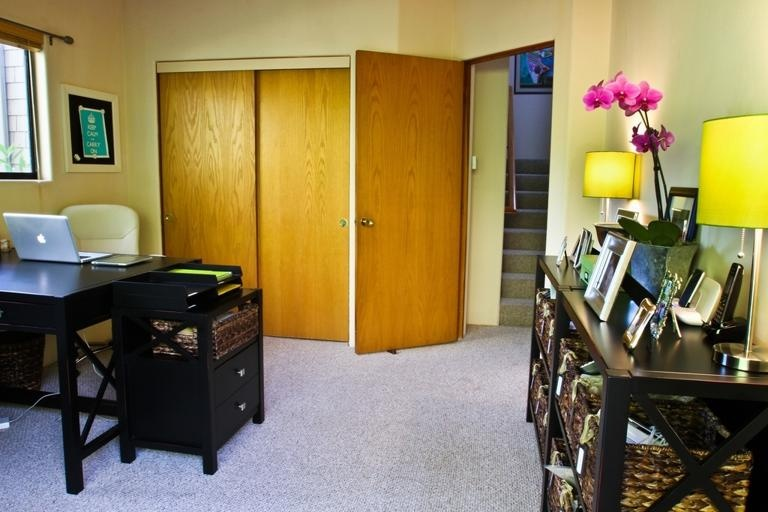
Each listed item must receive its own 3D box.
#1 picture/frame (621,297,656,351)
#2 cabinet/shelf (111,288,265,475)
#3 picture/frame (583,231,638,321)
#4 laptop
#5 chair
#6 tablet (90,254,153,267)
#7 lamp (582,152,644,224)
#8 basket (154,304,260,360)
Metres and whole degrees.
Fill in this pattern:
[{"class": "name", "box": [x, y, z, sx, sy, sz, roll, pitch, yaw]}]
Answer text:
[{"class": "picture/frame", "box": [0.977, 0.267, 2.095, 0.032, 0.230, 0.124, 18, 15, -6]}, {"class": "cabinet/shelf", "box": [-1.149, 0.704, 3.398, 0.653, 0.893, 0.810, -1, 5, 4]}, {"class": "picture/frame", "box": [1.001, 0.101, 2.395, 0.038, 0.389, 0.389, 19, 4, 0]}, {"class": "laptop", "box": [-2.042, -0.110, 3.331, 0.387, 0.247, 0.361, 3, 5, 16]}, {"class": "chair", "box": [-2.130, 0.131, 4.021, 0.695, 0.980, 0.694, -1, -1, -40]}, {"class": "tablet", "box": [-1.666, 0.031, 3.463, 0.198, 0.036, 0.342, 4, 8, 24]}, {"class": "lamp", "box": [1.459, -0.418, 3.614, 0.396, 0.513, 0.395, -3, 14, -20]}, {"class": "basket", "box": [-1.036, 0.434, 3.148, 0.409, 0.123, 0.303, 0, 7, 4]}]
